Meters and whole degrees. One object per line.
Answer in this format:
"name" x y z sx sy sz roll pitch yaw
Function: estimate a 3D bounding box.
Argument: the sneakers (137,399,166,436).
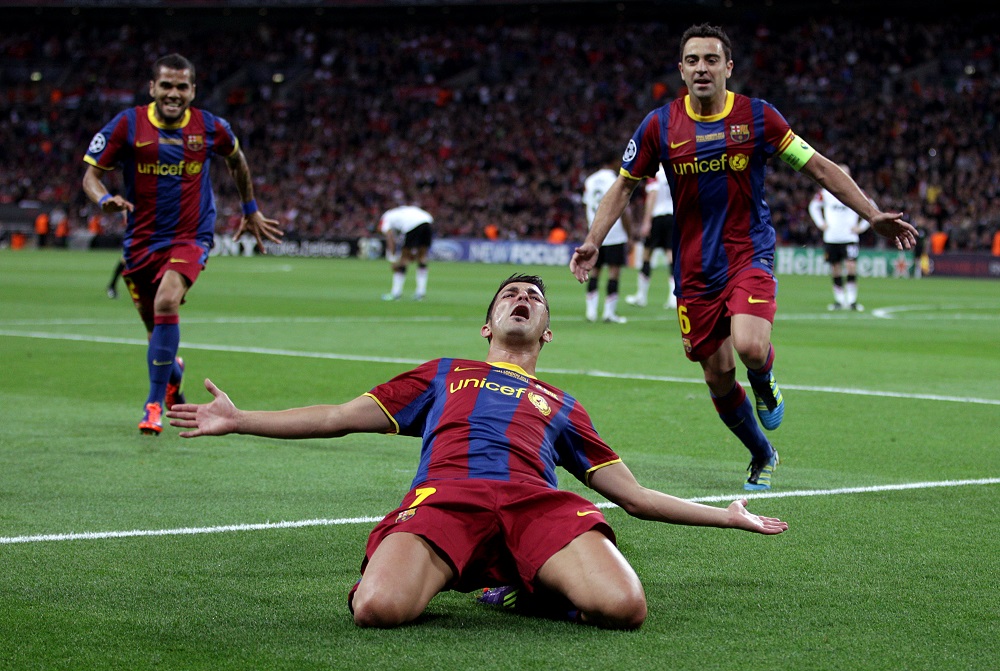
"sneakers" -2.426 0.561 7.551 0.146 0.187 0.289 -1 9 -15

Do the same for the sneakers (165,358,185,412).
"sneakers" -2.312 0.344 7.707 0.131 0.372 0.159 4 11 -9

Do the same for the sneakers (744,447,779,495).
"sneakers" 1.550 0.817 6.517 0.122 0.152 0.365 -17 3 30

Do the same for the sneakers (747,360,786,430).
"sneakers" 1.669 0.397 6.838 0.179 0.527 0.228 -12 16 25

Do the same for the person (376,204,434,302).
"person" -1.698 -1.354 20.499 0.719 1.535 2.203 10 -7 -13
